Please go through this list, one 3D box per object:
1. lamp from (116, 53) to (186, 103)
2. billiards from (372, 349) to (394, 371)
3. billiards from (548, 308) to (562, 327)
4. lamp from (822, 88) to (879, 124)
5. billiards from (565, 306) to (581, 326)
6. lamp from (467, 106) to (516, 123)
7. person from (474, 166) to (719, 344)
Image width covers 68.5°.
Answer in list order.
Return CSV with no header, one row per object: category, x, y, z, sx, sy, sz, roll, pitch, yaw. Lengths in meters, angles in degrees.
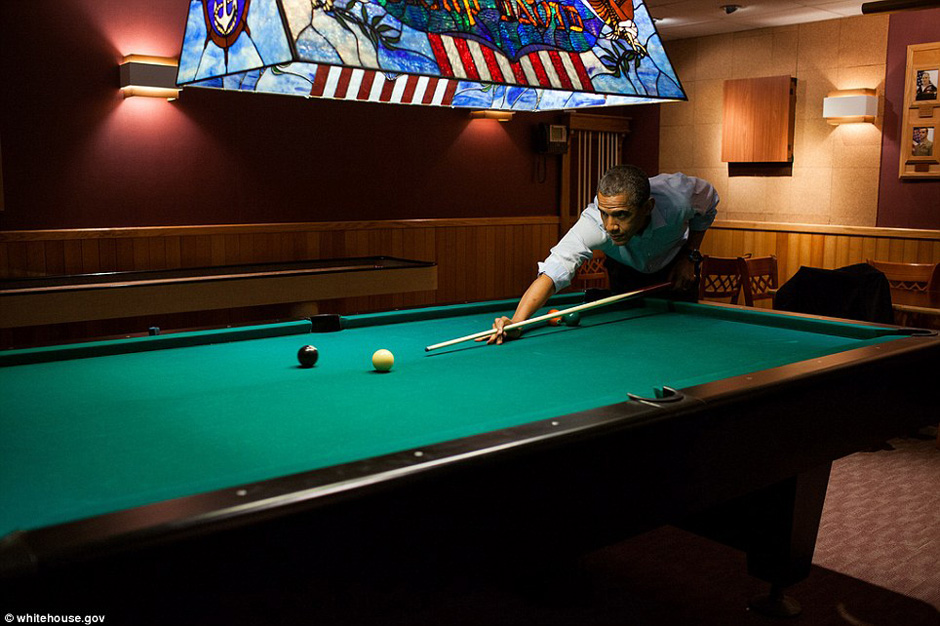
lamp,-2.254,-1.646,4.841,0.387,0.283,0.313,-6,14,-26
billiards,-0.317,0.171,2.589,0.077,0.076,0.075,-9,8,1
billiards,0.414,0.024,3.382,0.055,0.070,0.063,7,27,21
lamp,3.555,-1.928,6.460,0.457,0.307,0.322,10,16,36
billiards,0.488,0.018,3.370,0.078,0.089,0.079,-7,-22,33
lamp,0.269,-1.884,6.645,0.278,0.100,0.582,10,16,36
person,0.941,-0.272,4.193,1.822,1.154,1.021,7,16,9
